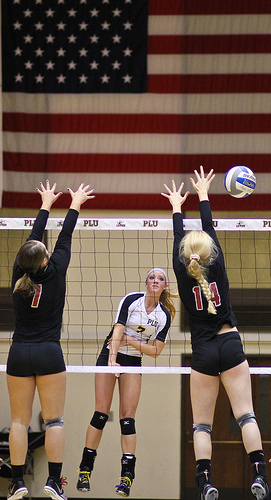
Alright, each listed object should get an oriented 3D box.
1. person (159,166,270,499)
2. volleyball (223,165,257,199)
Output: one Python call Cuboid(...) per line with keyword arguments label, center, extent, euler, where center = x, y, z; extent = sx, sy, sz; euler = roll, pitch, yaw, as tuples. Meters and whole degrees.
Cuboid(label="person", center=(0.642, 0.617, 5.047), extent=(0.693, 2.445, 0.699), euler=(1, -3, 0))
Cuboid(label="volleyball", center=(0.968, -0.614, 5.892), extent=(0.228, 0.312, 0.224), euler=(3, -2, 28))
